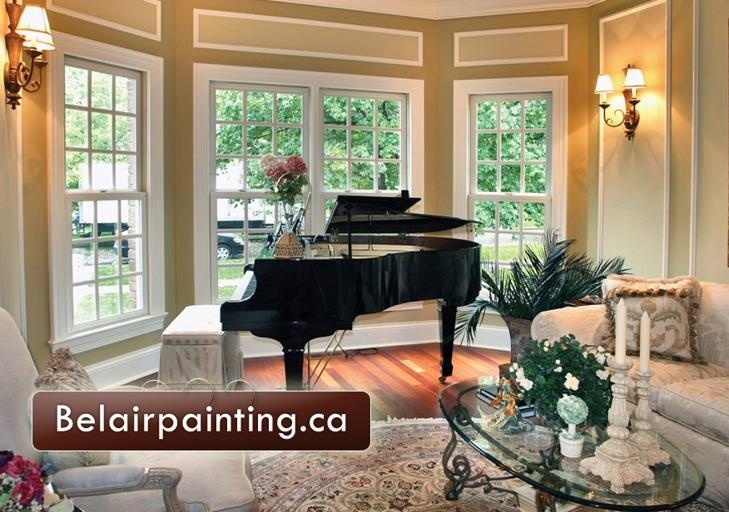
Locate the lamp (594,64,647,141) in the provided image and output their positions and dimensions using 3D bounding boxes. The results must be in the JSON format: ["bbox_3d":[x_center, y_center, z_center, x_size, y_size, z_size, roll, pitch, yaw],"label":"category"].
[{"bbox_3d":[2.520,-1.522,5.367,0.400,0.731,0.584,-8,13,-36],"label":"lamp"}]

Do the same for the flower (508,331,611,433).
[{"bbox_3d":[1.078,0.632,3.006,0.519,0.489,0.521,-1,-3,29],"label":"flower"}]

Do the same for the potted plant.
[{"bbox_3d":[1.602,0.300,5.226,1.421,1.242,1.400,1,-3,-1],"label":"potted plant"}]

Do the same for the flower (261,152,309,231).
[{"bbox_3d":[-0.641,-0.494,4.489,0.295,0.510,0.355,4,-13,16],"label":"flower"}]

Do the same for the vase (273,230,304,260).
[{"bbox_3d":[-0.568,-0.086,4.013,0.208,0.191,0.196,0,-2,-6],"label":"vase"}]

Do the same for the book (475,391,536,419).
[{"bbox_3d":[0.842,0.881,3.167,0.288,0.054,0.279,3,1,-1],"label":"book"}]

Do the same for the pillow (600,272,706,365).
[{"bbox_3d":[2.117,0.473,4.008,0.651,0.598,0.273,0,4,32],"label":"pillow"}]

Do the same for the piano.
[{"bbox_3d":[-0.009,0.235,4.503,2.053,1.522,1.508,-5,6,-4],"label":"piano"}]

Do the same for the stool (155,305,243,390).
[{"bbox_3d":[-1.385,0.647,4.486,0.557,0.518,0.840,1,27,-8],"label":"stool"}]
